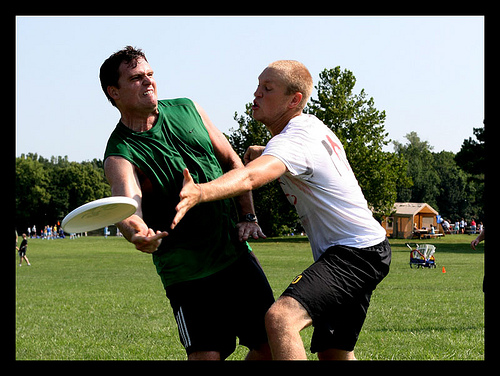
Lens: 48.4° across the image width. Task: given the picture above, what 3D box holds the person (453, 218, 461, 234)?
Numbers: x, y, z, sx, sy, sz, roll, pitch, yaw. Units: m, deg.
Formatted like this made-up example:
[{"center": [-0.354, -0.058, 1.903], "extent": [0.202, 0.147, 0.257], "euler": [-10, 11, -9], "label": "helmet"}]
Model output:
[{"center": [28.008, 5.234, 74.963], "extent": [1.313, 1.374, 0.425], "euler": [4, 22, 12], "label": "person"}]

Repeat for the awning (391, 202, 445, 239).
[{"center": [18.729, 3.778, 63.333], "extent": [4.863, 3.584, 6.650], "euler": [0, 2, 43], "label": "awning"}]

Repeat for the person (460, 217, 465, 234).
[{"center": [27.375, 5.102, 71.349], "extent": [0.532, 1.635, 1.931], "euler": [-1, 1, 21], "label": "person"}]
